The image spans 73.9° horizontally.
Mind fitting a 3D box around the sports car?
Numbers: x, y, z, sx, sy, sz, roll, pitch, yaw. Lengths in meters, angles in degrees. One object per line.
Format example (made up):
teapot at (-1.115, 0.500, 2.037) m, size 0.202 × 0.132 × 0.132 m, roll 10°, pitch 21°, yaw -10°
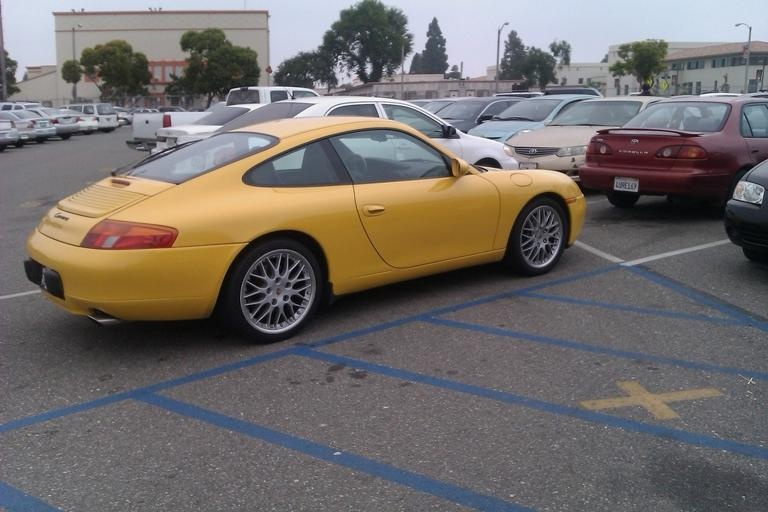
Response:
sports car at (-0.336, -0.436, 5.311) m, size 5.291 × 1.213 × 2.302 m, roll -11°, pitch 19°, yaw -27°
